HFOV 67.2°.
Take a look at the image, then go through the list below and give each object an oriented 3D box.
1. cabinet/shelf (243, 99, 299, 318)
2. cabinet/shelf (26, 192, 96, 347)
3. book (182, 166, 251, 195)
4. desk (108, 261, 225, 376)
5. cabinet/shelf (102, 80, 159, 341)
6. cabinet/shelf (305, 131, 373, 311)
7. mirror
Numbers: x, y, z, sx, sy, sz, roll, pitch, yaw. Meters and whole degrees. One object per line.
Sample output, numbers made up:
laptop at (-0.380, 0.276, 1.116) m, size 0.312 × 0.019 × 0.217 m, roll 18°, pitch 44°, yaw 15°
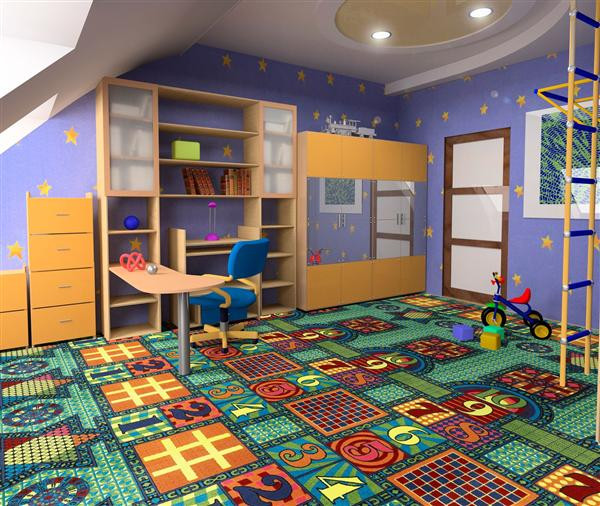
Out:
cabinet/shelf at (-0.371, -0.636, 5.683) m, size 0.549 × 2.130 × 0.416 m, roll -12°, pitch 29°, yaw -25°
cabinet/shelf at (-2.286, 0.177, 4.339) m, size 0.630 × 1.418 × 0.201 m, roll -5°, pitch 13°, yaw -23°
book at (-0.927, -0.821, 5.229) m, size 0.791 × 0.327 × 0.312 m, roll -6°, pitch 12°, yaw -30°
desk at (-1.095, 0.320, 3.813) m, size 0.913 × 0.749 × 1.809 m, roll -1°, pitch 4°, yaw -30°
cabinet/shelf at (-1.751, -0.420, 4.726) m, size 0.715 × 2.614 × 0.584 m, roll 0°, pitch 0°, yaw -10°
cabinet/shelf at (0.427, -0.406, 5.782) m, size 1.109 × 2.156 × 0.395 m, roll -7°, pitch 14°, yaw -33°
mirror at (0.992, -0.428, 6.034) m, size 2.471 × 1.142 × 0.111 m, roll -8°, pitch 13°, yaw -42°
